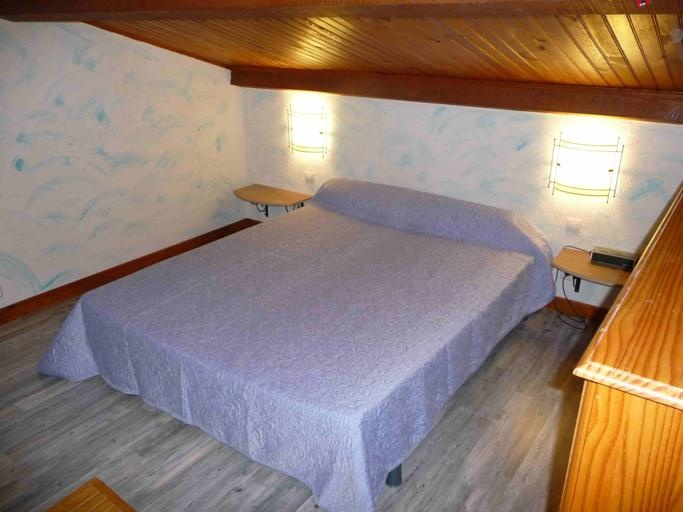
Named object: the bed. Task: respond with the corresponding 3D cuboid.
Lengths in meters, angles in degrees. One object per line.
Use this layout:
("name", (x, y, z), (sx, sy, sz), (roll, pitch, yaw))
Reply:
("bed", (-0.187, 0.214, 3.050), (2.246, 1.022, 2.294), (15, 23, 31))
